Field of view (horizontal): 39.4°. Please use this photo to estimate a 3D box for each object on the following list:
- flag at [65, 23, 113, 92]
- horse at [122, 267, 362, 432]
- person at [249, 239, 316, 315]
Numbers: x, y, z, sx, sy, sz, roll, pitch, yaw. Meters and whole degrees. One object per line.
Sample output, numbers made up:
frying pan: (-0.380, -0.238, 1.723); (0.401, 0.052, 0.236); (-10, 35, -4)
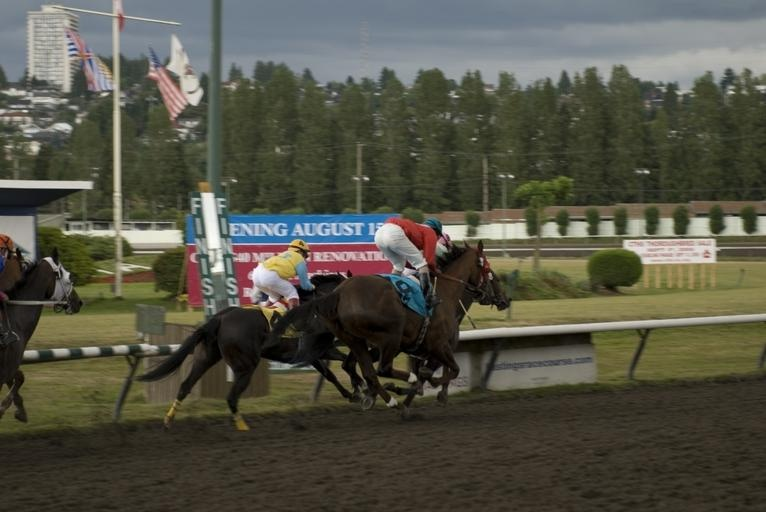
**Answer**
flag: (-5.933, -3.949, 21.822); (0.851, 1.057, 1.808); (-3, 4, -12)
horse: (-1.350, 1.078, 12.138); (3.287, 1.367, 0.672); (1, -11, -43)
person: (-1.195, 0.267, 12.698); (0.751, 0.746, 0.592); (-21, 51, -35)
